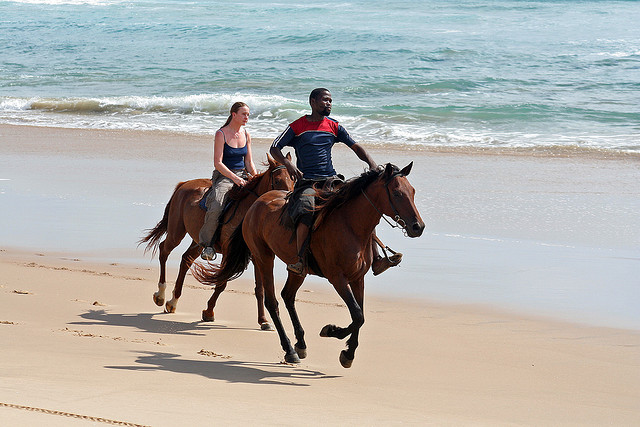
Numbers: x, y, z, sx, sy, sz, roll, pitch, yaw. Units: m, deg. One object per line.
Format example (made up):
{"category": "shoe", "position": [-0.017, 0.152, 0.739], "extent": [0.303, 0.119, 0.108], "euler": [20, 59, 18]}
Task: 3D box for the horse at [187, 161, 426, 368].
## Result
{"category": "horse", "position": [-0.078, 0.756, 14.148], "extent": [3.627, 3.711, 1.328], "euler": [18, 18, 39]}
